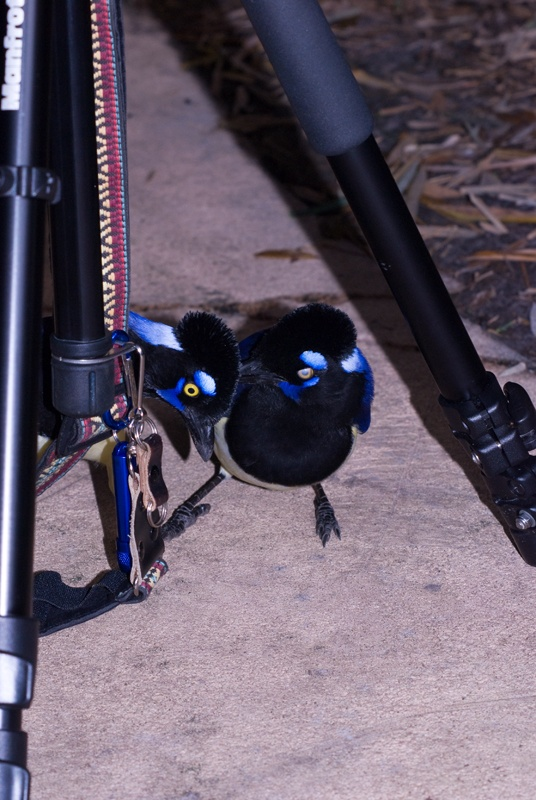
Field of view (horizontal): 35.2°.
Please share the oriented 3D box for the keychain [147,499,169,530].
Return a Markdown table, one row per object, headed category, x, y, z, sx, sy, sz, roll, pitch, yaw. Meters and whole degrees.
| category | x | y | z | sx | sy | sz | roll | pitch | yaw |
| --- | --- | --- | --- | --- | --- | --- | --- | --- | --- |
| keychain | -0.133 | 0.138 | 1.010 | 0.033 | 0.037 | 0.012 | -2 | 11 | -33 |
